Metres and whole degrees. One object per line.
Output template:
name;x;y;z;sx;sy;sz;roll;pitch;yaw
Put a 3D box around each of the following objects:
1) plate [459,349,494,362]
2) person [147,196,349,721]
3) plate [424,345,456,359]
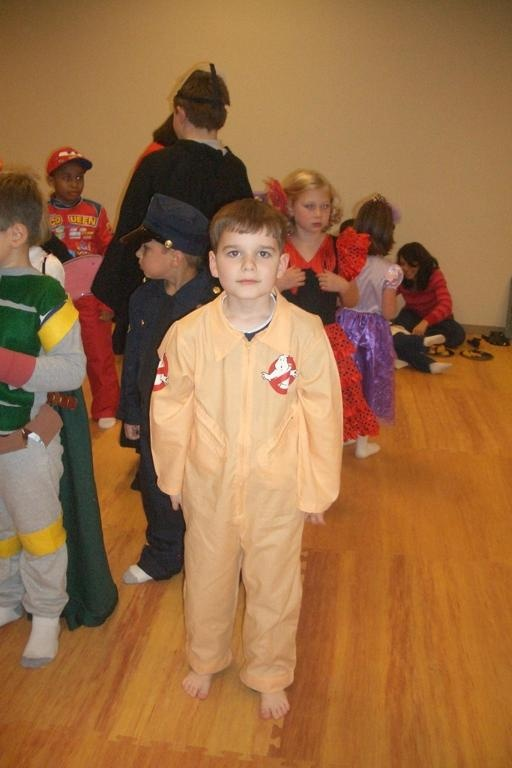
plate;1.544;-0.209;4.286;0.217;0.032;0.261;7;19;16
person;-0.032;0.275;1.288;0.394;0.933;0.155;4;18;7
plate;1.281;-0.227;4.273;0.259;0.106;0.088;-2;36;3
